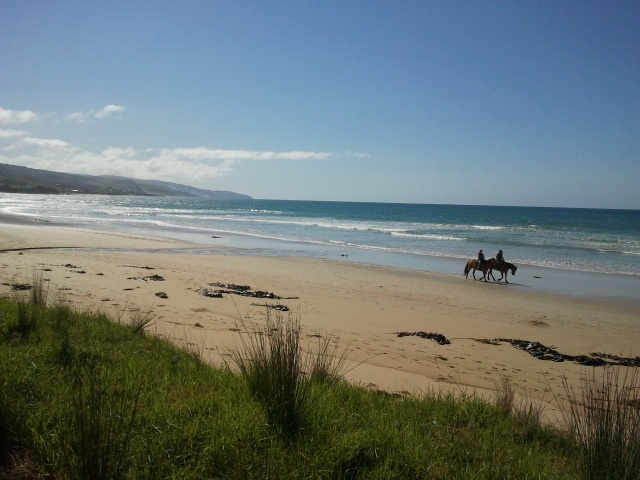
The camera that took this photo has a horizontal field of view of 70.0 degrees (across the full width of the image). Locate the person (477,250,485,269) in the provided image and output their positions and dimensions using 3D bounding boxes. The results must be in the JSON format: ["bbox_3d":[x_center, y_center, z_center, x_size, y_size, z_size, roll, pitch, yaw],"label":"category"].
[{"bbox_3d":[6.528,0.757,18.425,0.324,0.784,1.174,12,4,20],"label":"person"}]

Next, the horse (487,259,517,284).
[{"bbox_3d":[7.311,1.202,18.504,1.059,0.993,1.856,10,3,23],"label":"horse"}]
